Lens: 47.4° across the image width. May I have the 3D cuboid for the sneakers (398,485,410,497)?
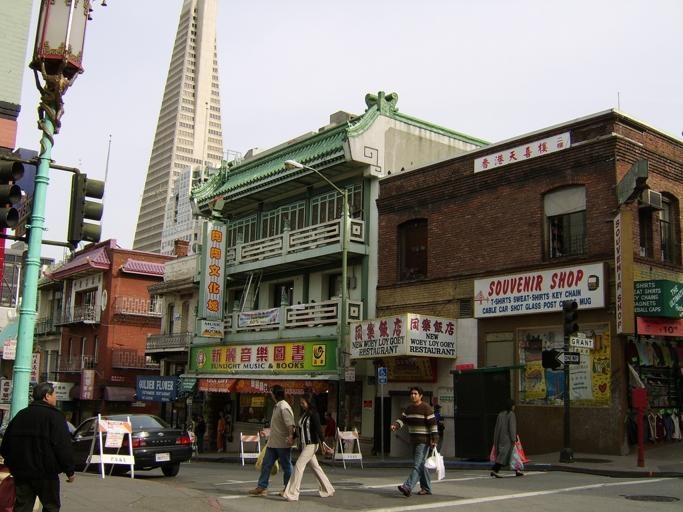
[{"bbox_3d":[1.312,5.015,16.521,0.142,0.367,0.153,-13,10,36],"label":"sneakers"}]

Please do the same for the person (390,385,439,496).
[{"bbox_3d":[1.641,4.076,17.149,0.904,2.366,1.157,0,-14,3],"label":"person"}]

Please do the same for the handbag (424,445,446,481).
[{"bbox_3d":[1.997,4.494,17.091,0.315,0.620,0.266,-7,-4,37],"label":"handbag"}]

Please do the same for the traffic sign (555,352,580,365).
[{"bbox_3d":[6.635,3.007,22.734,0.654,0.351,0.277,3,-14,-7],"label":"traffic sign"}]

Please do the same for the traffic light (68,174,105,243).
[{"bbox_3d":[-5.085,-0.903,15.299,0.724,1.530,0.590,12,-18,-38],"label":"traffic light"}]

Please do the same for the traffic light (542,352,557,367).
[{"bbox_3d":[6.159,3.049,22.923,0.500,0.516,0.426,-3,-15,16],"label":"traffic light"}]

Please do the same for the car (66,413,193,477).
[{"bbox_3d":[-5.833,5.163,21.221,3.401,1.664,3.900,0,-15,2],"label":"car"}]

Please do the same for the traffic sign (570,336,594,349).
[{"bbox_3d":[7.036,2.556,23.011,1.057,0.329,0.235,12,-18,-36],"label":"traffic sign"}]

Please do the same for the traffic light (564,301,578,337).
[{"bbox_3d":[6.677,1.795,22.709,0.391,1.035,0.781,-3,-15,15],"label":"traffic light"}]

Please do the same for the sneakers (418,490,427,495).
[{"bbox_3d":[1.737,5.144,16.855,0.254,0.084,0.151,-9,-17,32],"label":"sneakers"}]

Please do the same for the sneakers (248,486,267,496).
[{"bbox_3d":[-1.852,5.116,16.819,0.395,0.175,0.151,1,-11,13],"label":"sneakers"}]

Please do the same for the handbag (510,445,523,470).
[{"bbox_3d":[4.480,5.213,20.041,0.291,0.653,0.351,-2,-15,11],"label":"handbag"}]

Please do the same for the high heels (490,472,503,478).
[{"bbox_3d":[3.955,5.629,19.841,0.128,0.122,0.325,-9,4,-22],"label":"high heels"}]
